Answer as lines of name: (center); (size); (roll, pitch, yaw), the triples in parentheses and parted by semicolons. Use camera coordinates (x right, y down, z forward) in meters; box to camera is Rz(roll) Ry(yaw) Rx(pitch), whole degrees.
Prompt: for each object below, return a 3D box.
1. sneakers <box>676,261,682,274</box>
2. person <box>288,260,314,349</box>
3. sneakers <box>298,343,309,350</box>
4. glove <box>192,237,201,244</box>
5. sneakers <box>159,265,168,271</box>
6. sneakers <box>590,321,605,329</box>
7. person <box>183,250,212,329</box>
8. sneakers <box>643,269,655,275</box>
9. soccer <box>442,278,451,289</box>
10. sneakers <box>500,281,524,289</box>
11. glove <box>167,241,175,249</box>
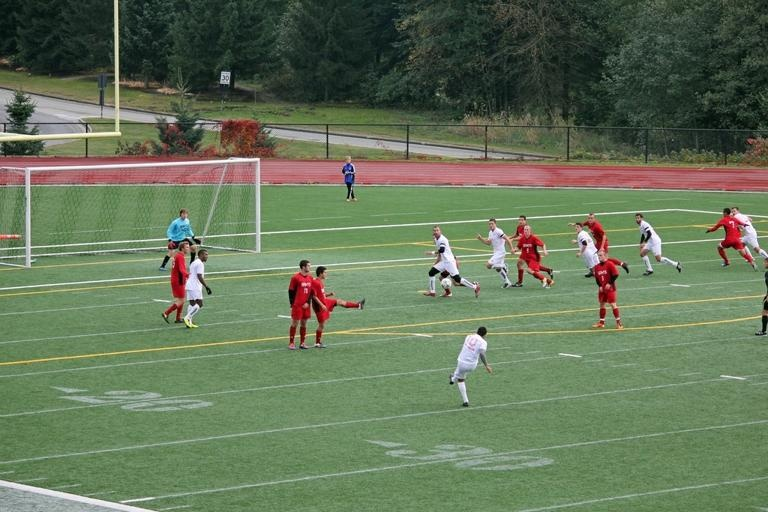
sneakers: (10.977, 0.437, 42.413); (0.286, 0.460, 0.189); (-6, 33, 13)
person: (-2.406, 1.415, 33.658); (0.717, 2.565, 0.774); (0, 4, -4)
sneakers: (-2.337, 2.614, 33.978); (0.169, 0.090, 0.277); (-2, 1, -30)
glove: (-7.828, -0.587, 48.371); (0.484, 0.152, 0.543); (15, -4, -8)
sneakers: (-8.257, 0.477, 42.793); (0.390, 0.180, 0.105); (-3, 22, 12)
sneakers: (6.737, 2.090, 35.687); (0.198, 0.146, 0.476); (0, -2, 38)
person: (-5.839, 0.993, 35.960); (0.817, 2.340, 1.342); (0, 4, -9)
sneakers: (9.847, 0.626, 42.496); (0.396, 0.150, 0.123); (4, 34, 29)
soccer: (2.191, 0.891, 39.199); (0.329, 0.360, 0.707); (1, 3, 1)
sneakers: (4.605, 1.047, 40.827); (0.811, 0.221, 0.219); (2, 1, -3)
glove: (-7.681, -0.394, 42.191); (0.460, 0.286, 0.372); (0, -2, -16)
